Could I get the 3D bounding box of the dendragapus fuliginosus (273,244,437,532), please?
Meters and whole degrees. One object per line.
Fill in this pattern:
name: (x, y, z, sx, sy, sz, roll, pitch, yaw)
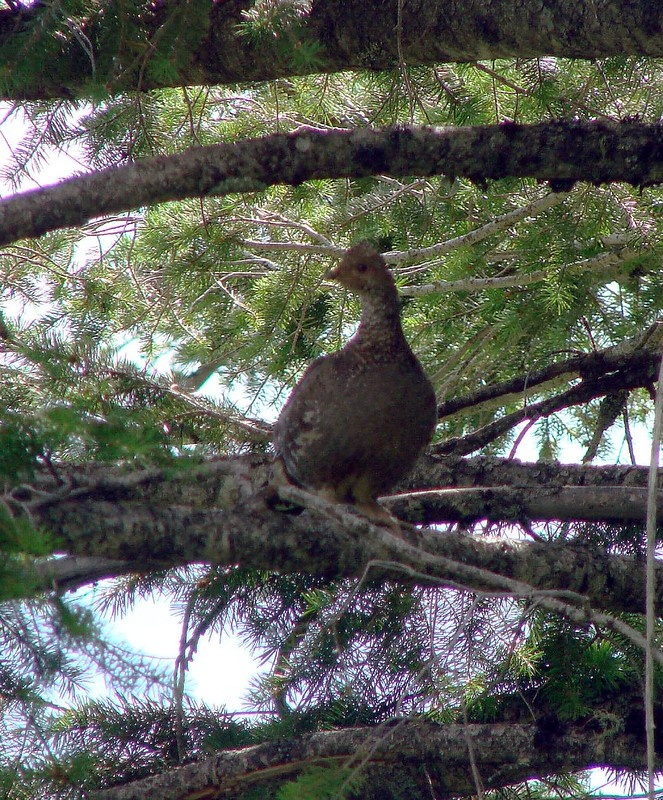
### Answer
dendragapus fuliginosus: (0.098, -0.021, 7.860, 0.595, 1.123, 0.446, 4, -28, 2)
